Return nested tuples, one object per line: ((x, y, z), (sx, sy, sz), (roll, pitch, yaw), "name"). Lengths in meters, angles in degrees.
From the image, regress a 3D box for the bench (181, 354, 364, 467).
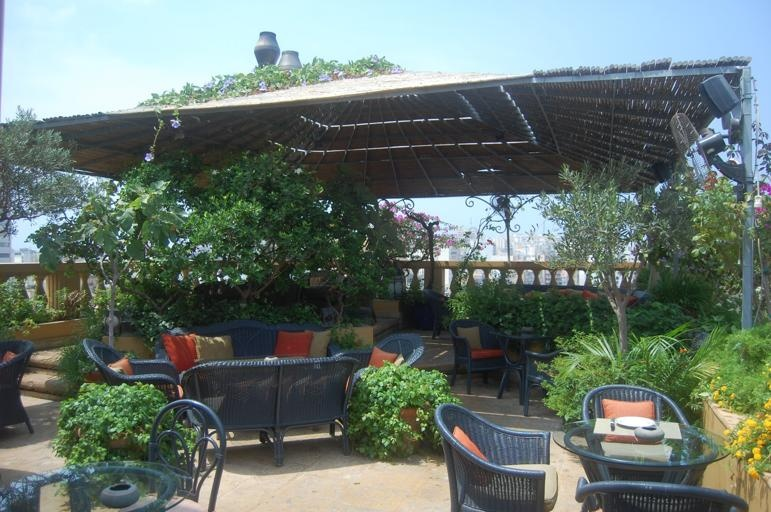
((-1.560, 2.391, 8.553), (2.157, 1.392, 1.256), (0, 4, -17), "bench")

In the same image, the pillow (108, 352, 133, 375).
((-3.451, 1.444, 8.494), (0.295, 0.209, 0.883), (1, -2, -23), "pillow")

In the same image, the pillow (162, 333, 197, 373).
((-3.101, 1.449, 9.836), (0.477, 0.532, 0.136), (-26, -2, -26), "pillow")

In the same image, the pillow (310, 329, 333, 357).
((-1.030, 1.384, 10.239), (0.302, 0.383, 0.171), (10, -11, -16), "pillow")

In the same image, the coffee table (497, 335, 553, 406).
((2.259, 1.772, 10.495), (0.977, 1.164, 0.979), (-1, 2, -21), "coffee table")

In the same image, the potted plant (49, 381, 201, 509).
((-3.042, 1.998, 7.180), (1.178, 0.734, 1.061), (11, -6, -8), "potted plant")

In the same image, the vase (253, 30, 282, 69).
((-3.201, -5.382, 17.572), (0.765, 1.107, 0.764), (6, -12, -27), "vase")

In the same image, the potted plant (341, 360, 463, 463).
((0.122, 1.912, 8.283), (1.171, 0.879, 1.147), (1, -11, -11), "potted plant")

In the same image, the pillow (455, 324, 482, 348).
((1.342, 1.338, 10.769), (0.357, 0.374, 0.133), (0, -18, -21), "pillow")

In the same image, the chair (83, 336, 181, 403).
((-3.286, 1.497, 8.500), (1.025, 0.847, 0.877), (-2, 8, -11), "chair")

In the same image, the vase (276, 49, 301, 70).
((-2.560, -5.118, 17.045), (0.749, 0.370, 0.399), (0, -2, 31), "vase")

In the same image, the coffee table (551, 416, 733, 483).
((2.545, 2.037, 6.558), (1.612, 0.618, 0.717), (0, -1, 6), "coffee table")
